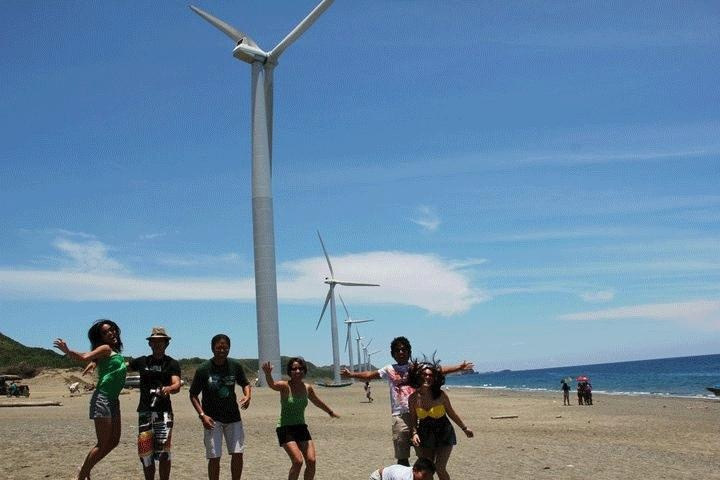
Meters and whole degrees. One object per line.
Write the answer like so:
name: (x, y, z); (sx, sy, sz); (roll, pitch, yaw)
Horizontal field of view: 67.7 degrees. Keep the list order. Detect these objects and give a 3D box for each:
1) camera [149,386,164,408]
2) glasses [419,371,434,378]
camera: (-4.694, 3.634, 12.355); (0.308, 0.457, 0.179); (1, -13, -20)
glasses: (1.502, 3.029, 12.116); (0.270, 0.163, 0.084); (-3, -12, 0)
